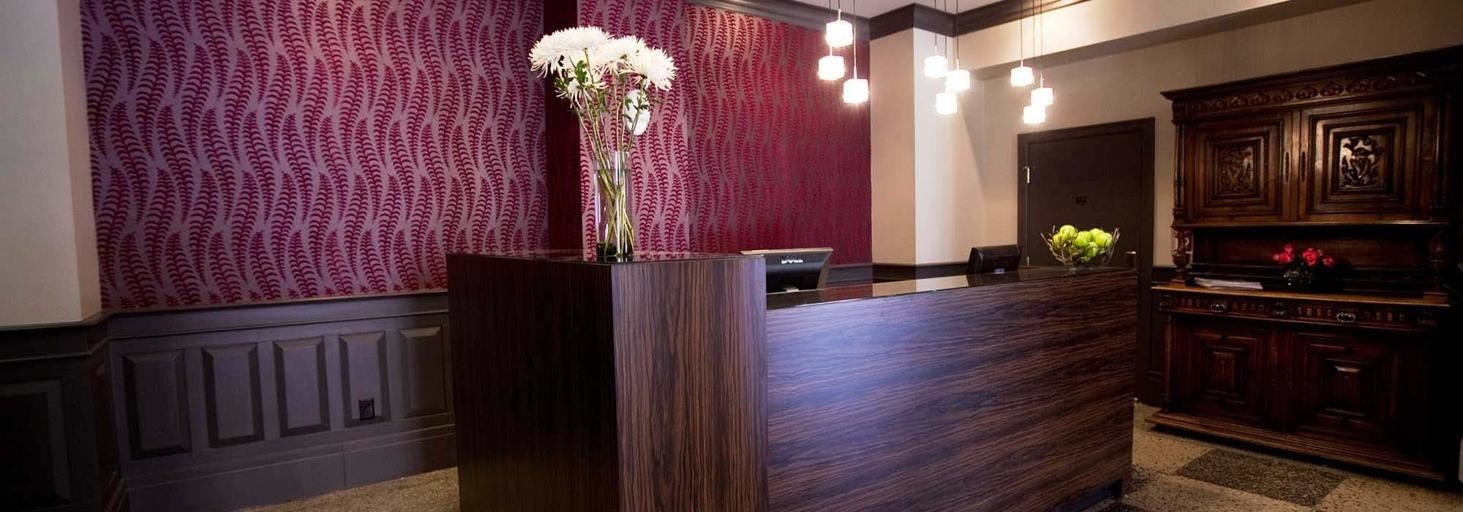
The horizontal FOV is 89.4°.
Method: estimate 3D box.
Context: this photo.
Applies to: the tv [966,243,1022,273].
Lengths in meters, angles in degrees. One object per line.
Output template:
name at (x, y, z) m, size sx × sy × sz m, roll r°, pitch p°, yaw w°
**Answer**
tv at (3.467, 0.043, 9.752) m, size 0.812 × 0.333 × 0.402 m, roll -3°, pitch 3°, yaw -1°
